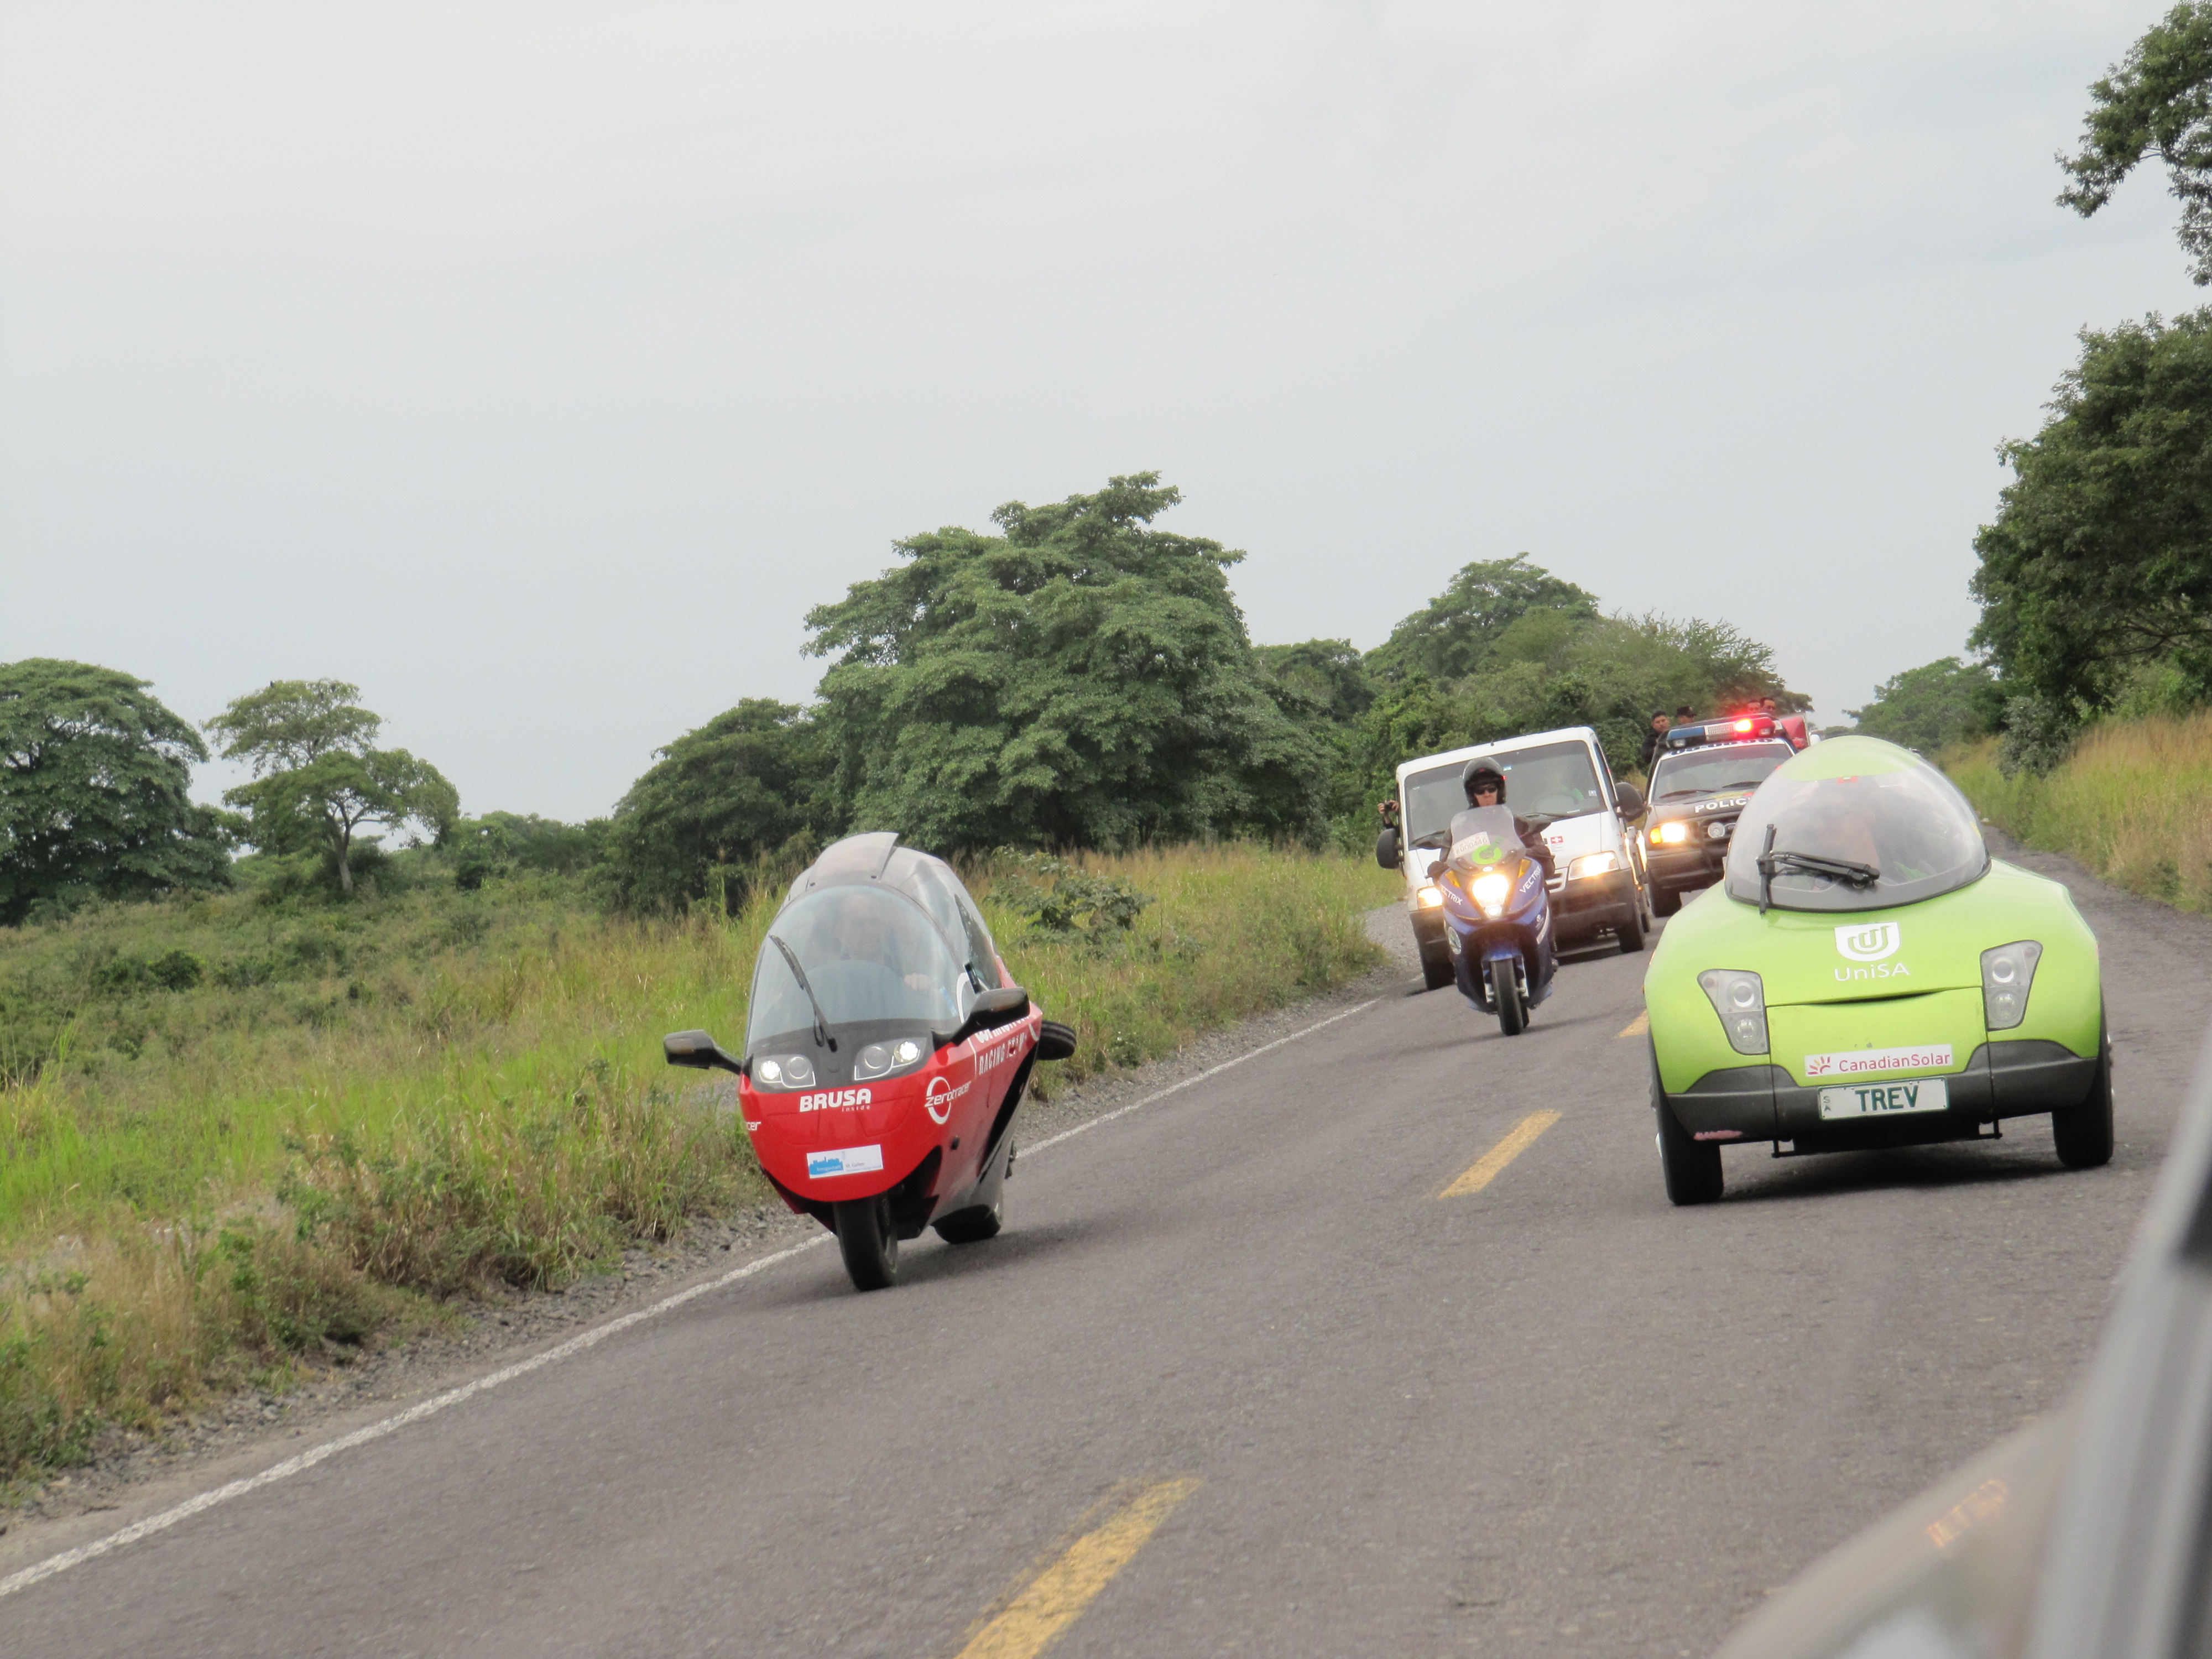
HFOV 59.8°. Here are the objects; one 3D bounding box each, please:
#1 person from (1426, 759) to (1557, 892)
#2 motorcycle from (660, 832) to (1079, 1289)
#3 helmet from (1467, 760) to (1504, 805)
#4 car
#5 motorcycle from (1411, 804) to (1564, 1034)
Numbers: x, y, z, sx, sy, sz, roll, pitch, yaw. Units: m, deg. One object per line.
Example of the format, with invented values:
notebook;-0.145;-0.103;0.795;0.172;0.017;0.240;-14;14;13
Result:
person;3.598;-0.055;17.680;1.190;0.707;0.707;-10;-12;-1
motorcycle;-1.210;1.262;11.032;1.174;2.352;1.807;-7;-2;35
helmet;3.497;-0.471;17.802;0.286;0.423;0.406;-4;-22;6
car;3.707;0.729;10.005;1.441;1.584;2.709;-3;-8;10
motorcycle;3.510;0.826;17.329;0.945;2.050;0.985;-7;-1;10
